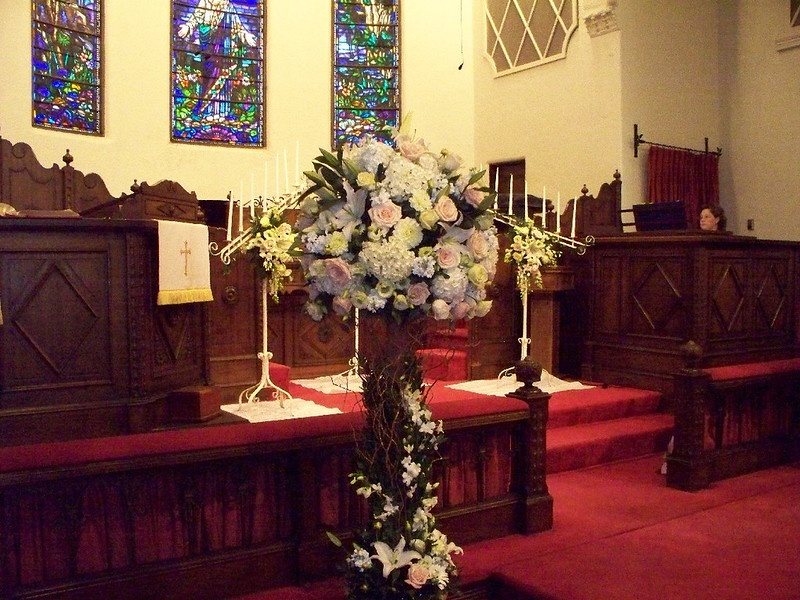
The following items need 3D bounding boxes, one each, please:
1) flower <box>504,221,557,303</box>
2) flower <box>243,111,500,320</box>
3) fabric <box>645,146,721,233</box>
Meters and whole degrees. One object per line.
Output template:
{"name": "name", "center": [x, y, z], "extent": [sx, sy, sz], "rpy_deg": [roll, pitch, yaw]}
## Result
{"name": "flower", "center": [1.349, -0.442, 7.014], "extent": [0.476, 0.788, 0.895], "rpy_deg": [7, 8, 11]}
{"name": "flower", "center": [-0.092, -0.286, 3.053], "extent": [0.733, 0.882, 0.798], "rpy_deg": [1, -1, -33]}
{"name": "fabric", "center": [3.823, -1.519, 9.219], "extent": [1.491, 1.517, 0.169], "rpy_deg": [-1, 1, -35]}
